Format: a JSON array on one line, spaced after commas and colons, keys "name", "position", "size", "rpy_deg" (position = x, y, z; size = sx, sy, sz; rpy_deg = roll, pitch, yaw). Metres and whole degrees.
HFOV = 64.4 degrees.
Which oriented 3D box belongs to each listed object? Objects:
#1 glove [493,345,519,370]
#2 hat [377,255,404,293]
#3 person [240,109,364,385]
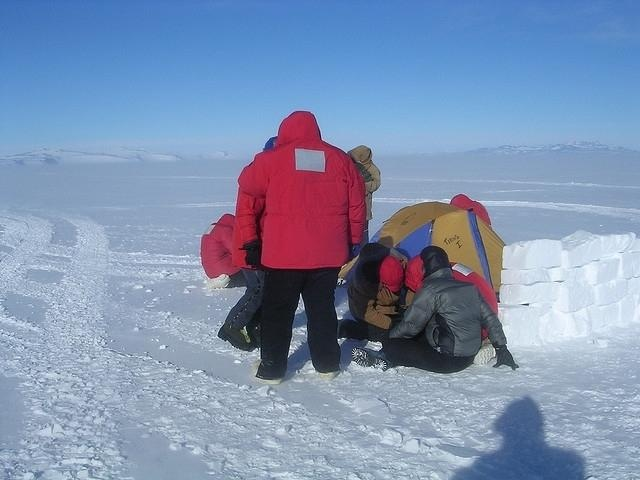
[{"name": "glove", "position": [1.553, 0.973, 4.224], "size": [0.191, 0.206, 0.142], "rpy_deg": [5, 12, 21]}, {"name": "hat", "position": [0.667, 0.329, 4.711], "size": [0.239, 0.374, 0.171], "rpy_deg": [1, 12, 3]}, {"name": "person", "position": [-0.246, 0.052, 4.128], "size": [1.321, 2.006, 0.789], "rpy_deg": [-2, 5, -36]}]
